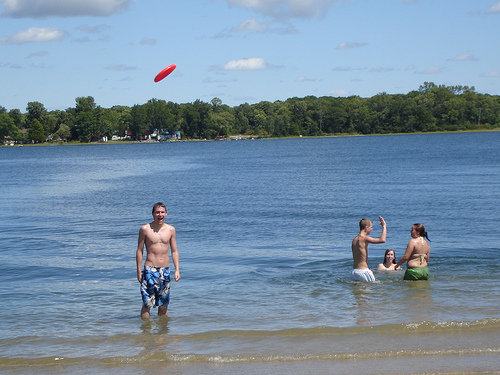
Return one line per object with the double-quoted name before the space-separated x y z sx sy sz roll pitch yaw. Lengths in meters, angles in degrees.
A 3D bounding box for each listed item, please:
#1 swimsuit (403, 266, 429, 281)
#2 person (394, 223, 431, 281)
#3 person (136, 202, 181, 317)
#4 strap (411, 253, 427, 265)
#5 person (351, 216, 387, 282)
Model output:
"swimsuit" 5.141 2.531 24.030 0.709 0.418 0.460 1 -5 -10
"person" 5.012 1.998 23.939 0.945 1.758 0.499 1 13 5
"person" -2.462 2.005 21.268 1.105 3.231 1.111 -2 13 -7
"strap" 5.120 2.156 23.918 0.401 0.332 0.052 0 13 1
"person" 3.570 1.830 23.864 0.747 2.158 1.516 -3 13 -12
